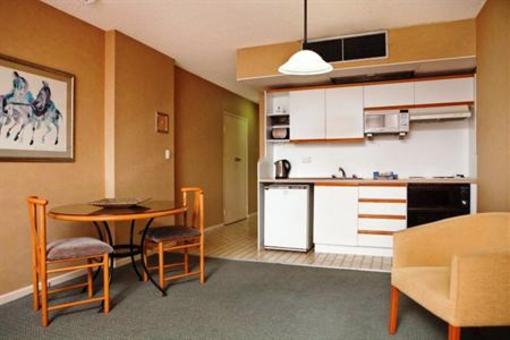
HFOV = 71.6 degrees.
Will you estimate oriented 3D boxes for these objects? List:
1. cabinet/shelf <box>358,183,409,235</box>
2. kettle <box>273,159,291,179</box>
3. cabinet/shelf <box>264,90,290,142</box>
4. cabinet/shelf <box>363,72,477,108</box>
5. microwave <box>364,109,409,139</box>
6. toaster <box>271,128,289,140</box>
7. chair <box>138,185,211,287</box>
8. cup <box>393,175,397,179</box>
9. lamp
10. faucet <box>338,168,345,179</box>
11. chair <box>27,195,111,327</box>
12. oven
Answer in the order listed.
[{"bbox_3d":[1.833,0.531,4.933,0.766,0.728,0.369,-1,-4,19],"label":"cabinet/shelf"},{"bbox_3d":[0.450,-0.024,5.803,0.256,0.308,0.330,1,10,9],"label":"kettle"},{"bbox_3d":[0.344,-0.933,5.891,0.416,0.658,0.405,-19,32,-14],"label":"cabinet/shelf"},{"bbox_3d":[2.344,-1.141,5.190,1.514,0.422,0.245,1,24,25],"label":"cabinet/shelf"},{"bbox_3d":[1.994,-0.562,5.338,0.672,0.412,0.382,0,-1,21],"label":"microwave"},{"bbox_3d":[0.397,-0.598,5.718,0.273,0.180,0.199,-1,-5,20],"label":"toaster"},{"bbox_3d":[-1.038,0.784,4.417,0.869,1.100,0.854,-3,-2,23],"label":"chair"},{"bbox_3d":[2.126,0.101,5.357,0.063,0.057,0.032,1,1,-26],"label":"cup"},{"bbox_3d":[0.510,-1.494,3.870,0.532,0.902,0.923,-1,10,0],"label":"lamp"},{"bbox_3d":[1.404,0.031,5.619,0.117,0.158,0.193,-2,10,-6],"label":"faucet"},{"bbox_3d":[-2.015,0.920,3.795,0.771,1.133,0.695,3,-5,-39],"label":"chair"},{"bbox_3d":[2.565,0.493,5.053,0.861,0.780,0.537,-2,10,7],"label":"oven"}]
